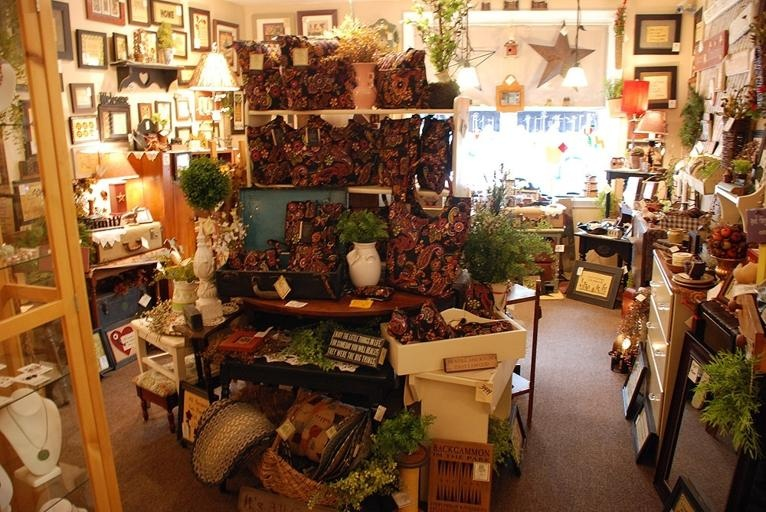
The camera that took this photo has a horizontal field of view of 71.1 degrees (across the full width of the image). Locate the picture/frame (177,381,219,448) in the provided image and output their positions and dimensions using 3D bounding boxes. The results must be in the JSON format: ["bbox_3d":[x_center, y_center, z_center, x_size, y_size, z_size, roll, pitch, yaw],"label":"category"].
[{"bbox_3d":[-1.315,1.123,3.810,0.048,0.540,0.484,3,9,-43],"label":"picture/frame"}]

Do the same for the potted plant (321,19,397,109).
[{"bbox_3d":[-0.177,-1.405,4.106,0.707,0.735,0.588,-3,9,-10],"label":"potted plant"}]

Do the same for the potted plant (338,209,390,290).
[{"bbox_3d":[-0.145,-0.045,3.753,0.353,0.529,0.305,-1,14,1],"label":"potted plant"}]

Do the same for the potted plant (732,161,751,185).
[{"bbox_3d":[2.569,-0.610,3.840,0.113,0.150,0.128,-13,18,-40],"label":"potted plant"}]

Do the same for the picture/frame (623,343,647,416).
[{"bbox_3d":[2.103,1.039,4.453,0.037,0.394,0.468,16,31,21],"label":"picture/frame"}]

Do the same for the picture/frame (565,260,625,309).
[{"bbox_3d":[2.605,0.375,6.557,0.533,0.449,0.053,15,-10,35],"label":"picture/frame"}]

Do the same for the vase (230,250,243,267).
[{"bbox_3d":[-1.043,0.026,3.835,0.088,0.103,0.116,-1,15,1],"label":"vase"}]

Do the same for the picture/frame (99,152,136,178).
[{"bbox_3d":[-2.663,-0.884,5.313,0.262,0.164,0.289,-6,5,-25],"label":"picture/frame"}]

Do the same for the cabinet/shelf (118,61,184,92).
[{"bbox_3d":[-2.557,-1.940,5.833,0.228,0.294,0.673,6,15,26],"label":"cabinet/shelf"}]

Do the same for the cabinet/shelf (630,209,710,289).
[{"bbox_3d":[2.440,-0.064,4.529,0.406,0.677,0.733,-1,15,5],"label":"cabinet/shelf"}]

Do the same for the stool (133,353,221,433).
[{"bbox_3d":[-1.717,1.139,4.412,0.592,0.378,0.564,2,13,-6],"label":"stool"}]

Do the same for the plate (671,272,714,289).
[{"bbox_3d":[2.066,0.167,3.550,0.257,0.086,0.190,2,14,14],"label":"plate"}]

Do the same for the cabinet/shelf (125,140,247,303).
[{"bbox_3d":[-1.801,-0.279,4.712,0.572,1.428,1.449,2,15,12],"label":"cabinet/shelf"}]

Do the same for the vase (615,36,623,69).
[{"bbox_3d":[3.106,-2.670,7.051,0.105,0.402,0.037,3,15,17],"label":"vase"}]

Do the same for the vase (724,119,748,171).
[{"bbox_3d":[2.724,-0.869,4.139,0.155,0.374,0.103,8,17,31],"label":"vase"}]

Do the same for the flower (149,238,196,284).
[{"bbox_3d":[-1.919,0.049,4.788,0.327,0.348,0.312,-20,-30,26],"label":"flower"}]

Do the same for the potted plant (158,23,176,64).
[{"bbox_3d":[-2.426,-2.368,5.975,0.181,0.441,0.146,-11,17,-34],"label":"potted plant"}]

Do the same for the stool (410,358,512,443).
[{"bbox_3d":[0.527,0.798,3.614,0.503,0.529,0.750,1,4,19],"label":"stool"}]

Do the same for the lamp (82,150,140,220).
[{"bbox_3d":[-2.634,-0.729,5.518,0.545,0.646,0.543,2,-5,-15],"label":"lamp"}]

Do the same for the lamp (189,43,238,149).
[{"bbox_3d":[-1.950,-1.827,6.222,0.586,1.109,0.526,-1,10,-3],"label":"lamp"}]

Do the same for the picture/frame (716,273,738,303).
[{"bbox_3d":[2.095,0.197,3.259,0.037,0.150,0.142,20,-29,2],"label":"picture/frame"}]

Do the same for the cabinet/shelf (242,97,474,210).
[{"bbox_3d":[-0.214,-0.784,4.021,1.544,0.531,0.310,3,11,3],"label":"cabinet/shelf"}]

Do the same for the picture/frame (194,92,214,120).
[{"bbox_3d":[-2.293,-1.905,6.795,0.039,0.368,0.380,-2,8,22],"label":"picture/frame"}]

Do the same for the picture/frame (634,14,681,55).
[{"bbox_3d":[3.563,-2.880,6.905,0.549,0.494,0.043,0,13,5],"label":"picture/frame"}]

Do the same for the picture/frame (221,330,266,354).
[{"bbox_3d":[-0.942,0.583,3.635,0.235,0.088,0.263,4,14,20],"label":"picture/frame"}]

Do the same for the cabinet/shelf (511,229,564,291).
[{"bbox_3d":[2.031,0.108,7.045,0.725,0.740,0.824,1,-8,28],"label":"cabinet/shelf"}]

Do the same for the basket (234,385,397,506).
[{"bbox_3d":[-0.565,1.188,3.502,0.806,0.380,0.640,8,19,27],"label":"basket"}]

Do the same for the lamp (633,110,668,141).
[{"bbox_3d":[3.354,-1.612,6.740,0.413,0.375,0.408,-11,16,-44],"label":"lamp"}]

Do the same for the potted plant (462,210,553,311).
[{"bbox_3d":[0.795,-0.012,4.061,0.810,0.816,0.646,-1,5,-33],"label":"potted plant"}]

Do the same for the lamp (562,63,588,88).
[{"bbox_3d":[2.508,-2.328,7.016,0.357,0.348,0.340,-1,11,2],"label":"lamp"}]

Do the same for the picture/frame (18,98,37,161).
[{"bbox_3d":[-1.614,-0.574,2.429,0.057,0.254,0.034,-10,17,-30],"label":"picture/frame"}]

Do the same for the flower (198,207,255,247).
[{"bbox_3d":[-1.203,-0.255,4.034,0.333,0.316,0.192,-2,25,-19],"label":"flower"}]

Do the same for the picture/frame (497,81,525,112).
[{"bbox_3d":[1.301,-1.634,5.483,0.216,0.285,0.329,0,14,4],"label":"picture/frame"}]

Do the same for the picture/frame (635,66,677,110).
[{"bbox_3d":[3.529,-2.161,6.894,0.688,0.662,0.048,0,4,4],"label":"picture/frame"}]

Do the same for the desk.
[{"bbox_3d":[2.789,0.065,6.812,0.659,0.809,0.743,12,19,29],"label":"desk"}]

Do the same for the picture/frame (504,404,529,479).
[{"bbox_3d":[0.974,1.261,3.878,0.084,0.255,0.176,-14,-3,10],"label":"picture/frame"}]
